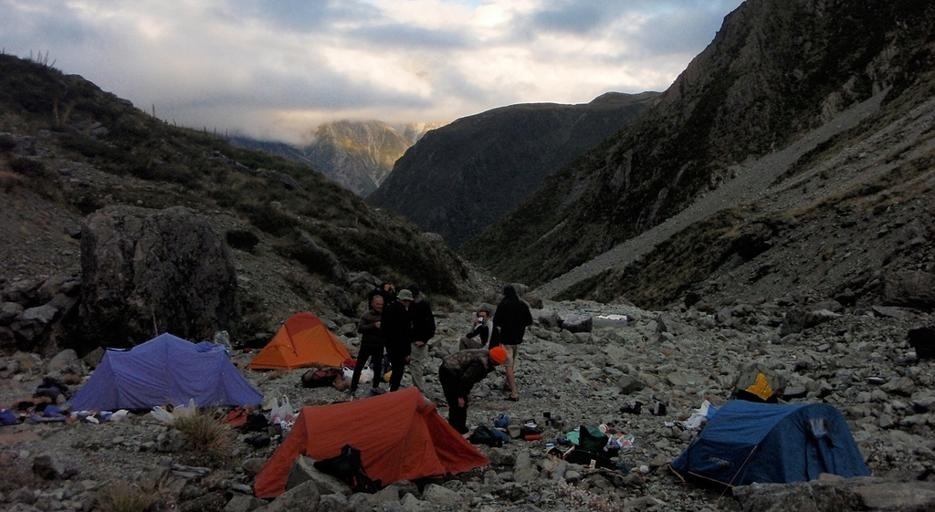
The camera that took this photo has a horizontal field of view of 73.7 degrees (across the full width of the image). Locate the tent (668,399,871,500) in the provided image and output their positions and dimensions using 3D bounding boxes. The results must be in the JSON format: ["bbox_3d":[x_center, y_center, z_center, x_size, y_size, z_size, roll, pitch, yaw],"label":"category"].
[{"bbox_3d":[12.277,7.850,25.419,5.735,1.795,4.010,-7,-12,13],"label":"tent"}]

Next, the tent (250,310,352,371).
[{"bbox_3d":[-8.279,4.250,31.548,3.616,1.603,3.280,-1,-7,1],"label":"tent"}]

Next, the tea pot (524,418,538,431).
[{"bbox_3d":[2.768,7.322,27.145,0.394,0.190,0.483,-4,13,-24],"label":"tea pot"}]

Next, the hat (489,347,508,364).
[{"bbox_3d":[1.351,4.239,26.889,0.686,0.599,0.804,3,0,-2],"label":"hat"}]

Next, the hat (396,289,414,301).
[{"bbox_3d":[-2.757,1.748,28.114,0.611,0.261,0.613,3,-3,35],"label":"hat"}]

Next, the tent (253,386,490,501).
[{"bbox_3d":[-3.972,7.361,25.847,6.647,1.875,4.891,-4,-4,-12],"label":"tent"}]
